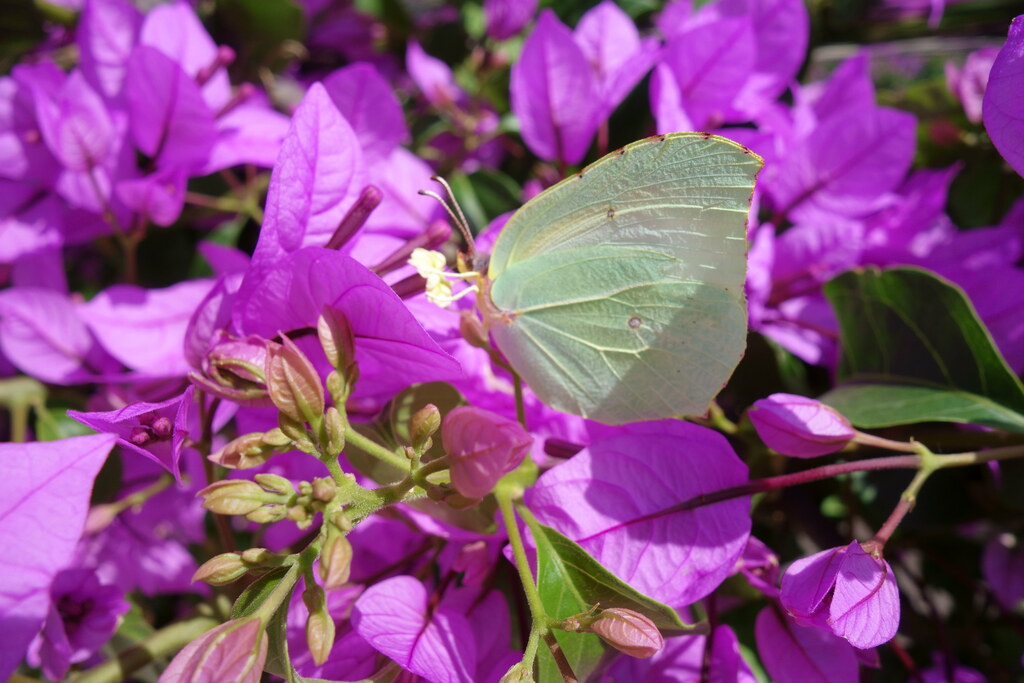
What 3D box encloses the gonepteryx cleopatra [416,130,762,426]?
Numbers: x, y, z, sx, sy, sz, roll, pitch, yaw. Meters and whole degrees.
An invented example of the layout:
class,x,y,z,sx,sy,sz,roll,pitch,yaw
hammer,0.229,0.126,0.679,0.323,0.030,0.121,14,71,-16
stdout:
class,x,y,z,sx,sy,sz,roll,pitch,yaw
gonepteryx cleopatra,0.080,-0.014,1.004,0.266,0.290,0.204,7,72,-5
